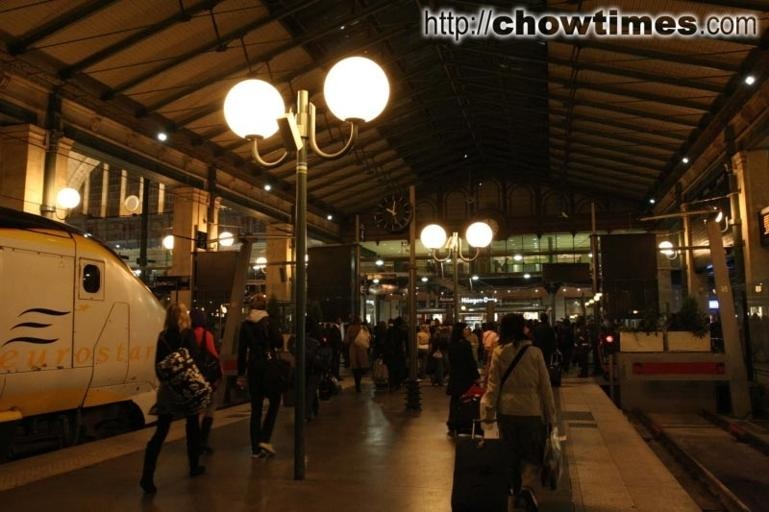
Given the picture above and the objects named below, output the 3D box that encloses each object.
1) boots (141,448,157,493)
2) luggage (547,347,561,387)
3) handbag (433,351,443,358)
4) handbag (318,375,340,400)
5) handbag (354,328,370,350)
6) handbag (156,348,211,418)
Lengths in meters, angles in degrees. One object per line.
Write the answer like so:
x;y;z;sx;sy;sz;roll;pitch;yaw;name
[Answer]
-4.109;3.744;11.633;0.293;0.778;0.234;1;-8;-10;boots
5.314;3.425;20.665;0.613;1.018;0.565;4;8;9;luggage
1.833;3.417;22.975;0.229;0.238;0.056;1;12;-14;handbag
-1.702;3.891;19.755;0.645;0.603;0.474;-11;10;-40;handbag
-0.741;2.645;21.116;0.425;0.528;0.223;31;-46;-22;handbag
-3.561;2.216;11.748;0.929;1.178;0.313;2;-8;-15;handbag
